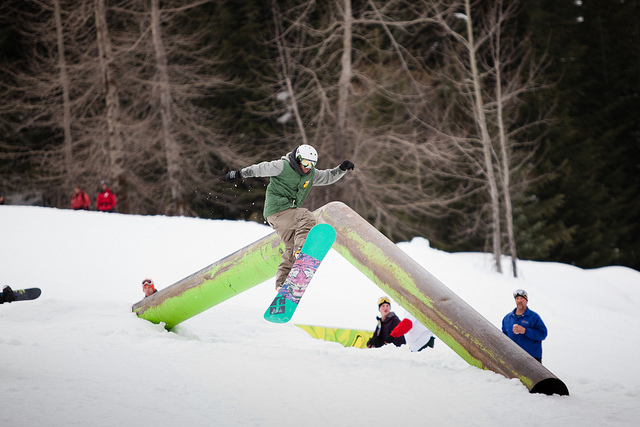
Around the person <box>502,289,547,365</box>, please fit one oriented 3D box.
[{"bbox_3d":[4.106,2.238,12.620,0.619,1.273,0.728,1,11,-17],"label":"person"}]
